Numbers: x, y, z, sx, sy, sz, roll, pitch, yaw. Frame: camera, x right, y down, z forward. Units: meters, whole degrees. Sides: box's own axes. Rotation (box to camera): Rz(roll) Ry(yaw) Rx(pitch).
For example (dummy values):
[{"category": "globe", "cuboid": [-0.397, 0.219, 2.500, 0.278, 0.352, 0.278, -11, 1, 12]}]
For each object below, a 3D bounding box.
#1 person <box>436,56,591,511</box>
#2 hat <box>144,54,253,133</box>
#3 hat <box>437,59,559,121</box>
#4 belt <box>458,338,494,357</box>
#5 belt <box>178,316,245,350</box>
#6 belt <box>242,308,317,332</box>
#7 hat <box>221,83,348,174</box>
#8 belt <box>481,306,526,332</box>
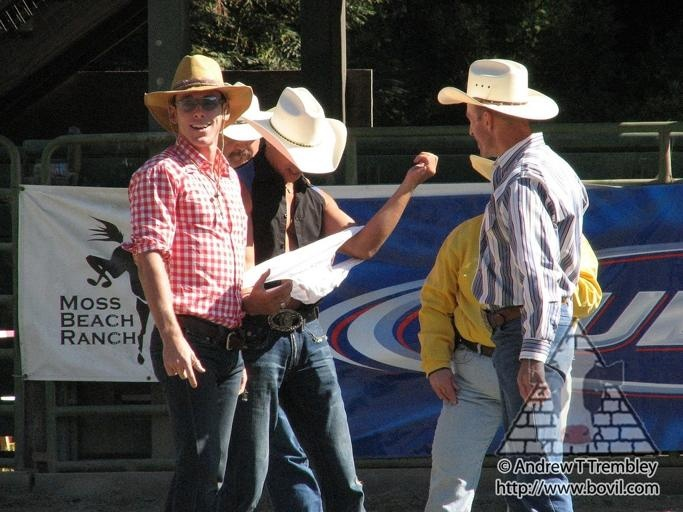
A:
[{"category": "person", "cuboid": [1.259, 0.179, 11.397, 0.534, 3.146, 0.755, 0, 1, -41]}, {"category": "hat", "cuboid": [-1.002, -1.193, 11.564, 0.638, 0.246, 0.646, -3, -15, 2]}, {"category": "hat", "cuboid": [1.105, -1.219, 11.630, 0.677, 0.242, 0.510, 9, 13, 27]}, {"category": "belt", "cuboid": [0.946, 0.636, 11.629, 0.196, 0.042, 0.135, 19, 3, 29]}, {"category": "belt", "cuboid": [-0.900, 0.528, 11.286, 0.349, 0.105, 0.258, 16, -5, 6]}, {"category": "belt", "cuboid": [-0.441, 0.451, 11.560, 0.270, 0.070, 0.268, -16, -11, 28]}, {"category": "hat", "cuboid": [-0.396, -0.903, 11.776, 0.782, 0.309, 0.697, 33, 29, 26]}, {"category": "belt", "cuboid": [1.107, 0.417, 11.337, 0.239, 0.097, 0.154, -4, -6, -4]}]
